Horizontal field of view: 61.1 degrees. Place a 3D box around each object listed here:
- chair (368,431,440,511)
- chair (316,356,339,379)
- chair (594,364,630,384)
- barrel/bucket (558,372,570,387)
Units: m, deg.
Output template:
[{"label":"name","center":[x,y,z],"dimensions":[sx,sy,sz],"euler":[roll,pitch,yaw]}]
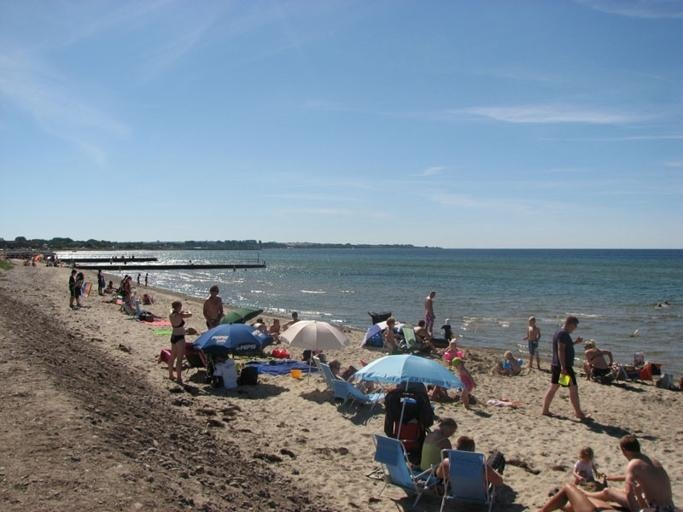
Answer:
[{"label":"chair","center":[1.106,3.845,10.556],"dimensions":[1.228,1.295,0.951],"euler":[2,0,24]},{"label":"chair","center":[-0.313,2.916,15.297],"dimensions":[0.435,0.645,0.530],"euler":[3,19,39]},{"label":"chair","center":[7.856,3.466,16.903],"dimensions":[0.821,0.285,0.567],"euler":[-5,3,-3]},{"label":"barrel/bucket","center":[4.894,2.731,12.853],"dimensions":[0.302,0.308,0.286],"euler":[3,1,0]}]
